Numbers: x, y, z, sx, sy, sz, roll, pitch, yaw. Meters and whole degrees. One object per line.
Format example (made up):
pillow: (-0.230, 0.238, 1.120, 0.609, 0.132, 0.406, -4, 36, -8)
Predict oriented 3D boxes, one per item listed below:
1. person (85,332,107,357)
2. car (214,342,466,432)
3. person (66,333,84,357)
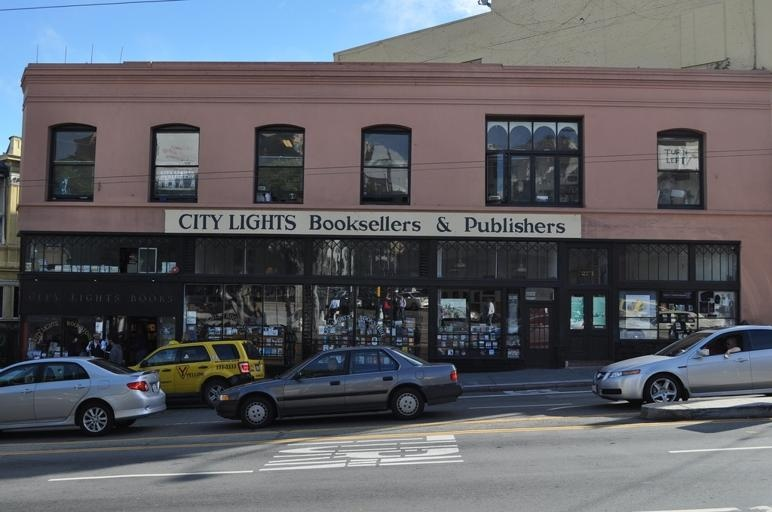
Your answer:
person: (-10.920, 3.427, 43.516, 0.831, 1.497, 0.502, -2, -14, -13)
car: (-1.728, 4.174, 36.720, 7.240, 2.016, 2.910, 1, -8, -3)
person: (-11.762, 3.383, 43.856, 0.684, 0.812, 0.156, -1, -7, 7)
